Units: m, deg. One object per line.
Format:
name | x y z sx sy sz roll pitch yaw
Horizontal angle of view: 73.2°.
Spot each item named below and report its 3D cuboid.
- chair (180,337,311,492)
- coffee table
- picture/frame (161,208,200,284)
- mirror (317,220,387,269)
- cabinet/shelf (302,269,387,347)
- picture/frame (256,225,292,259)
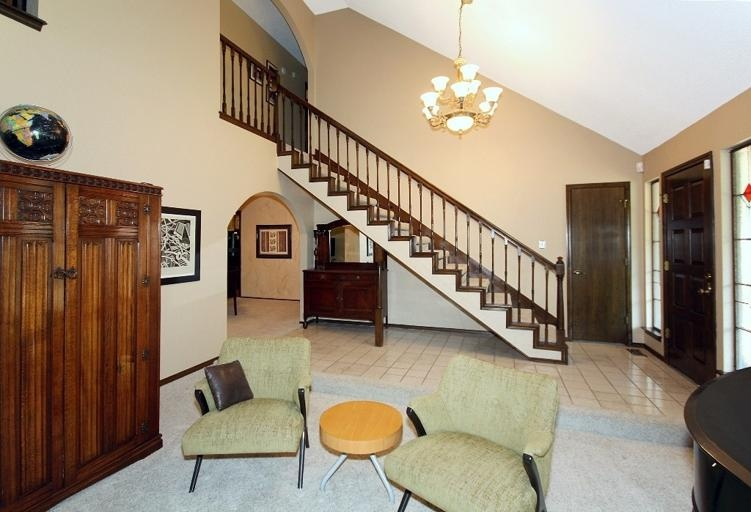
chair | -1.179 1.449 4.975 0.983 1.218 1.357 -1 -5 0
coffee table | -0.134 1.671 4.615 0.707 0.609 0.748 6 22 8
picture/frame | -2.421 -0.130 6.242 0.065 1.034 0.857 2 4 24
mirror | -0.451 -0.181 8.471 1.253 0.823 0.347 1 3 26
cabinet/shelf | -0.477 0.816 8.157 0.970 0.824 0.366 0 -1 20
picture/frame | -2.308 -0.329 11.705 0.646 0.689 0.089 3 2 18
